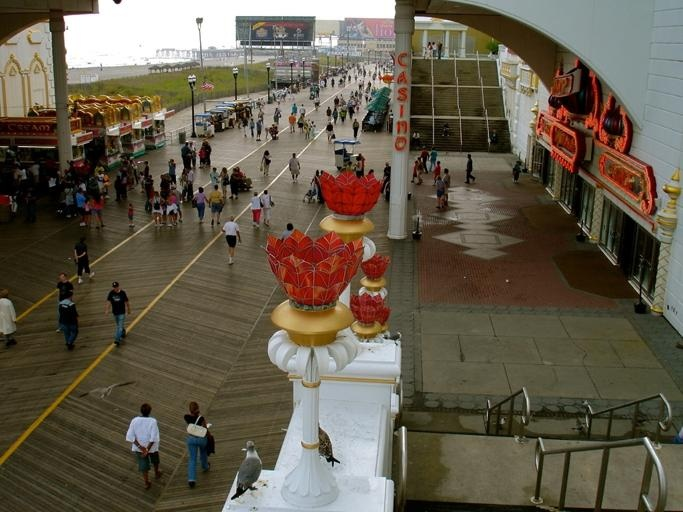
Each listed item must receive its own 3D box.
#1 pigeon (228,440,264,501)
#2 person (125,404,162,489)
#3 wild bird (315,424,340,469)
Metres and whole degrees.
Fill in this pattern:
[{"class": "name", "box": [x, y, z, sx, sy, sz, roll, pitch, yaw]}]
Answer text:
[{"class": "pigeon", "box": [-0.672, 1.534, 3.534, 0.136, 0.265, 0.419, -3, 7, 10]}, {"class": "person", "box": [-3.236, 3.058, 8.151, 0.461, 1.419, 0.513, -12, 19, -27]}, {"class": "wild bird", "box": [-0.089, 1.516, 3.918, 0.174, 0.366, 0.094, -8, 18, -16]}]
